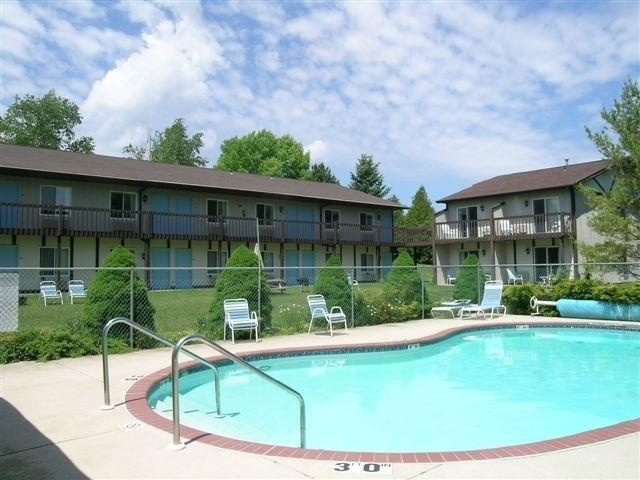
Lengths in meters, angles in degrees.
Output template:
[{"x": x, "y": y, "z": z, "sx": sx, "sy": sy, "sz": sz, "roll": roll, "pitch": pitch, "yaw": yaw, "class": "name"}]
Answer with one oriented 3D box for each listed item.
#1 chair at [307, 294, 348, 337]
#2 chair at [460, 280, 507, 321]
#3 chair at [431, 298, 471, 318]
[{"x": 0.239, "y": 2.375, "z": 16.814, "sx": 1.247, "sy": 1.272, "sz": 1.984, "roll": -3, "pitch": -5, "yaw": 1, "class": "chair"}, {"x": 6.520, "y": 2.359, "z": 19.632, "sx": 0.954, "sy": 1.128, "sz": 1.766, "roll": 1, "pitch": 10, "yaw": 18, "class": "chair"}, {"x": 5.134, "y": 2.727, "z": 20.616, "sx": 0.827, "sy": 0.570, "sz": 1.592, "roll": -6, "pitch": -9, "yaw": 36, "class": "chair"}]
